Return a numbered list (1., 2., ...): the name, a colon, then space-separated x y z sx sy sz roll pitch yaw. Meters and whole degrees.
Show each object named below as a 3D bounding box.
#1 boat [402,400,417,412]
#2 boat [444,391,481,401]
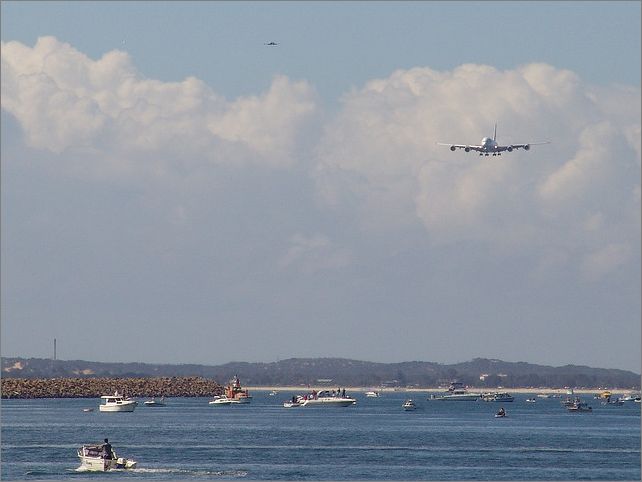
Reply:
1. boat: 23.067 45.209 506.531 1.958 2.835 6.620 5 2 9
2. boat: 41.025 47.510 563.910 9.396 2.813 19.768 1 0 -5
